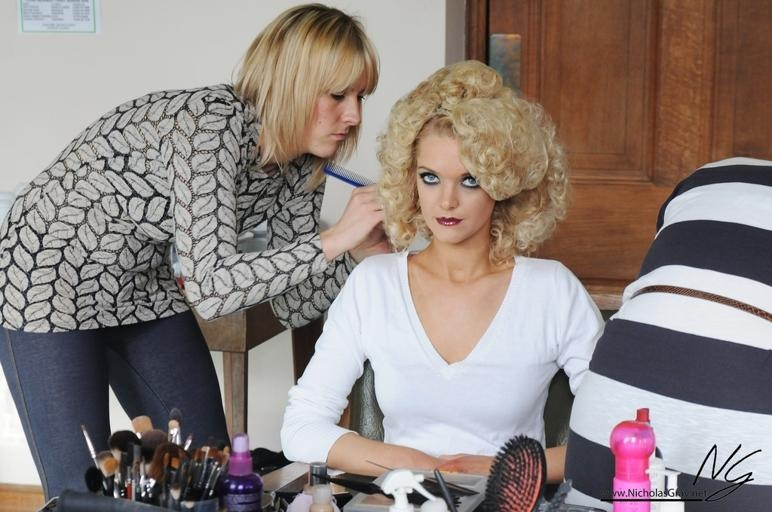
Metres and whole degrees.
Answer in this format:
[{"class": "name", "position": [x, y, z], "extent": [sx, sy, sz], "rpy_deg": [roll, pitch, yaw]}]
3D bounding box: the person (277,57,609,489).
[{"class": "person", "position": [0.128, 0.103, 1.852], "extent": [0.573, 1.087, 0.598], "rpy_deg": [7, 16, 27]}]
